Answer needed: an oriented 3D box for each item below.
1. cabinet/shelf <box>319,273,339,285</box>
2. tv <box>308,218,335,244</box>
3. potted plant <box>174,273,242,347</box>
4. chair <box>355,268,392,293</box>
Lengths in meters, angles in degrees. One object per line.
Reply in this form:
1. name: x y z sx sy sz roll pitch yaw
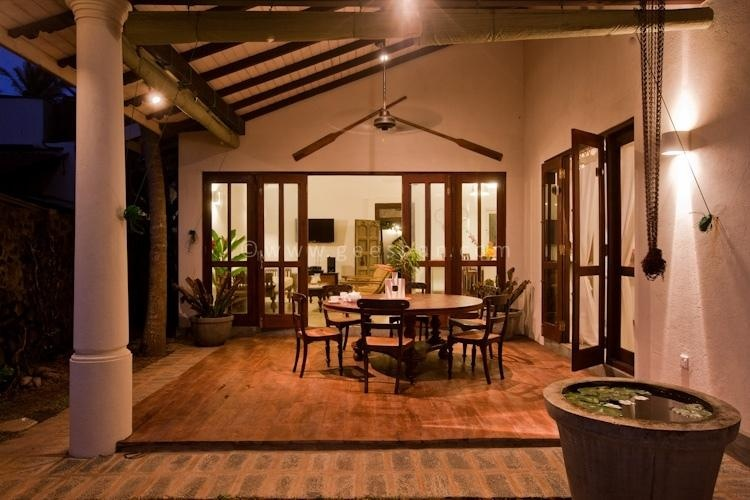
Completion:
1. cabinet/shelf: -1.038 0.638 11.770 0.357 0.335 0.350 -1 3 3
2. tv: -1.387 -0.511 13.415 0.723 0.568 0.096 0 -2 -2
3. potted plant: -2.562 0.950 8.471 1.107 1.165 1.094 0 -6 -2
4. chair: -0.051 0.613 11.160 0.717 0.713 0.555 0 1 -2
